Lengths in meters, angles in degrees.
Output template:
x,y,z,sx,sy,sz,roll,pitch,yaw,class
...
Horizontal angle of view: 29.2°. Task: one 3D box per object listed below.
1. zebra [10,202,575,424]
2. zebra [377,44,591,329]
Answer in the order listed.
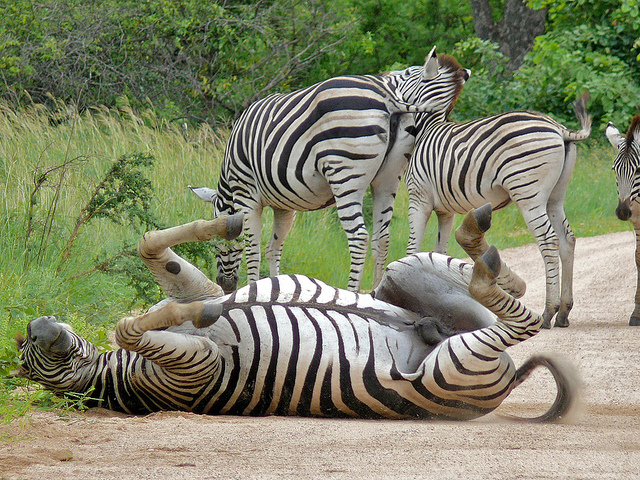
x,y,z,sx,sy,sz,roll,pitch,yaw,class
-0.185,0.768,12.351,5.521,2.538,1.798,1,33,0,zebra
1.799,-0.741,15.530,3.522,3.509,1.085,5,-1,39,zebra
